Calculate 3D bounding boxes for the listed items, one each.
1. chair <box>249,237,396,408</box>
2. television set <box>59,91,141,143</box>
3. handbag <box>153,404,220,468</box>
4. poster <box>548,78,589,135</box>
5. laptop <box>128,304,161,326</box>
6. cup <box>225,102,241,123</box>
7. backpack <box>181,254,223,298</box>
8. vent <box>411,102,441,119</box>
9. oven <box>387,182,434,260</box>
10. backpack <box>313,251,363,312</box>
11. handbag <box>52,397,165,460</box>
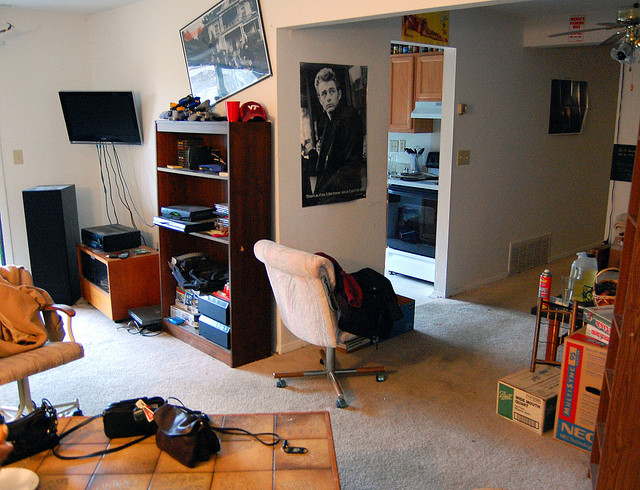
[{"bbox_3d":[0.056,0.528,3.760,0.838,1.106,0.873,-7,13,-30],"label":"chair"},{"bbox_3d":[-2.206,-1.273,5.241,0.884,0.540,0.123,1,16,17],"label":"television set"},{"bbox_3d":[-0.632,0.860,2.442,0.304,0.224,0.169,4,8,37],"label":"handbag"},{"bbox_3d":[2.979,-1.667,6.282,0.683,0.717,0.067,-7,10,-41],"label":"poster"},{"bbox_3d":[-1.612,0.654,4.831,0.283,0.100,0.349,-10,17,-19],"label":"laptop"},{"bbox_3d":[-0.645,-0.972,3.881,0.145,0.168,0.143,3,17,-1],"label":"cup"},{"bbox_3d":[-1.005,0.265,4.458,0.288,0.250,0.547,-10,17,-20],"label":"backpack"},{"bbox_3d":[1.176,-1.465,5.704,0.132,0.165,0.503,-11,17,-24],"label":"vent"},{"bbox_3d":[1.043,-0.290,5.857,0.469,0.723,0.723,-5,12,-33],"label":"oven"},{"bbox_3d":[0.151,0.244,3.479,0.334,0.439,0.222,-11,16,-24],"label":"backpack"},{"bbox_3d":[-0.989,0.871,2.492,0.413,0.181,0.230,-21,23,-38],"label":"handbag"}]
